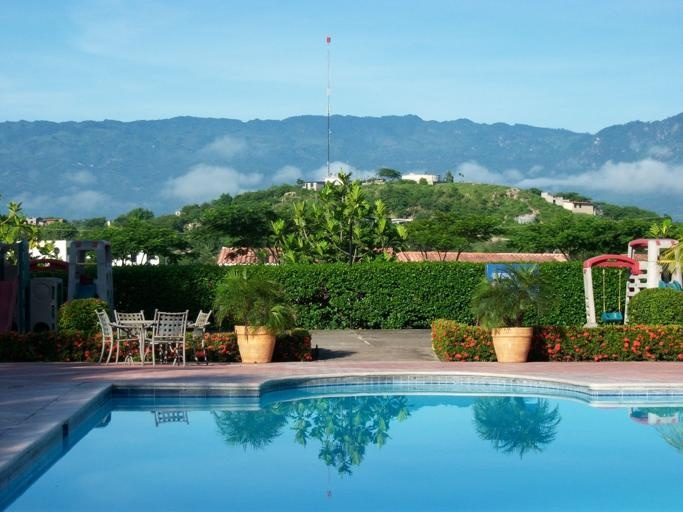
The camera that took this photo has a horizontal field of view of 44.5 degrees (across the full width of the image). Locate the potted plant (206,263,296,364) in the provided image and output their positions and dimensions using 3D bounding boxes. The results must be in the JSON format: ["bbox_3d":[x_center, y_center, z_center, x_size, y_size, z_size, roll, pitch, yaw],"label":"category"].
[{"bbox_3d":[-1.860,1.306,18.372,1.598,2.032,1.847,1,4,5],"label":"potted plant"}]

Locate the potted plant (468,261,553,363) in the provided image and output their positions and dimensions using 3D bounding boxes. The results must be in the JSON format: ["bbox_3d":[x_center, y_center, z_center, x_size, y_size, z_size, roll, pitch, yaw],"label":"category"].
[{"bbox_3d":[3.562,1.182,18.422,2.014,2.385,1.940,-1,0,-10],"label":"potted plant"}]
